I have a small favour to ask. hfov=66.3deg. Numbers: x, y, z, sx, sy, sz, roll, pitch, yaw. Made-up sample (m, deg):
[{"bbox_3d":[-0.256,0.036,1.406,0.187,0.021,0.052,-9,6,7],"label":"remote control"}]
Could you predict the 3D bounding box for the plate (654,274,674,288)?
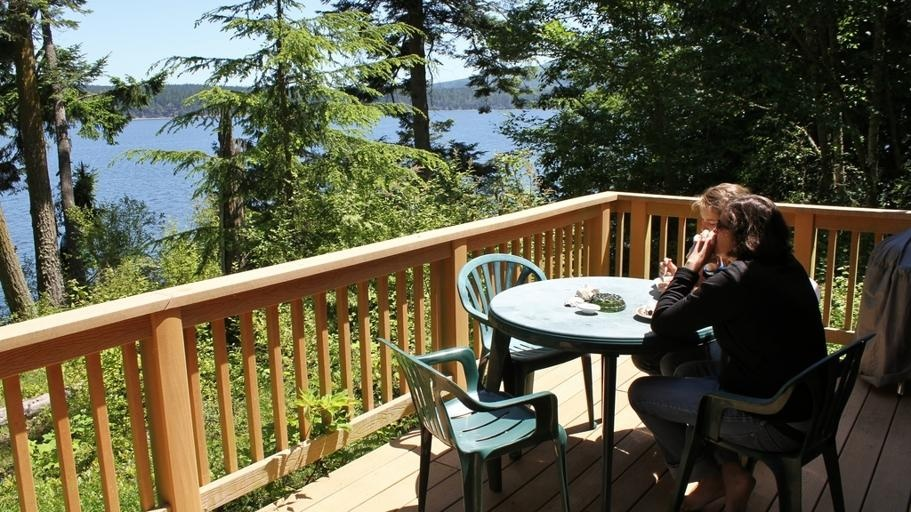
[{"bbox_3d":[1.996,0.238,6.667,0.122,0.063,0.151,-20,-1,-5],"label":"plate"}]
